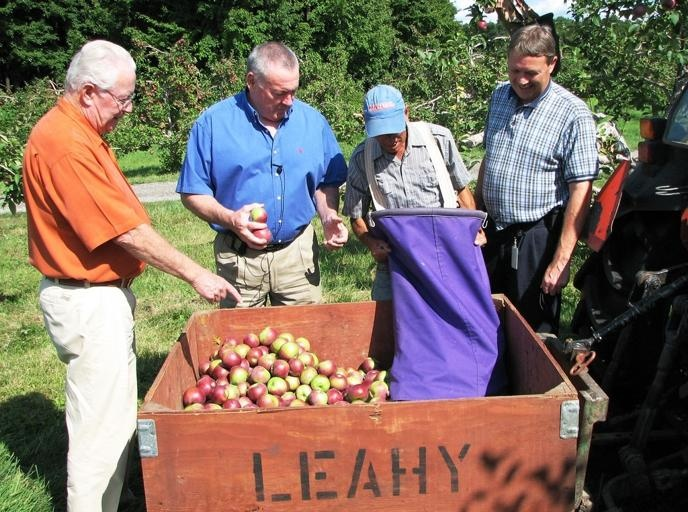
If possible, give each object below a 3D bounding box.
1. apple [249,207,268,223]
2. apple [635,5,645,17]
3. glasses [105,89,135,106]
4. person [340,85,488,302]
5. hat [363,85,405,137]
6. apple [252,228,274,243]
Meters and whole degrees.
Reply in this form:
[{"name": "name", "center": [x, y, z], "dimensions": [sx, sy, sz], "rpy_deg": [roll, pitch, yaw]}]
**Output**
[{"name": "apple", "center": [-0.628, -0.309, 5.175], "dimensions": [0.098, 0.140, 0.112], "rpy_deg": [1, 30, 6]}, {"name": "apple", "center": [2.840, -2.337, 6.614], "dimensions": [0.088, 0.115, 0.300], "rpy_deg": [12, 26, 26]}, {"name": "glasses", "center": [-1.458, -1.026, 4.522], "dimensions": [0.101, 0.033, 0.108], "rpy_deg": [-6, 54, -48]}, {"name": "person", "center": [0.486, -0.438, 5.402], "dimensions": [0.995, 1.723, 0.745], "rpy_deg": [3, 21, 5]}, {"name": "hat", "center": [0.299, -1.060, 5.050], "dimensions": [0.222, 0.206, 0.409], "rpy_deg": [-6, 53, 10]}, {"name": "apple", "center": [-0.601, -0.167, 5.176], "dimensions": [0.140, 0.111, 0.126], "rpy_deg": [-6, 23, -16]}]
